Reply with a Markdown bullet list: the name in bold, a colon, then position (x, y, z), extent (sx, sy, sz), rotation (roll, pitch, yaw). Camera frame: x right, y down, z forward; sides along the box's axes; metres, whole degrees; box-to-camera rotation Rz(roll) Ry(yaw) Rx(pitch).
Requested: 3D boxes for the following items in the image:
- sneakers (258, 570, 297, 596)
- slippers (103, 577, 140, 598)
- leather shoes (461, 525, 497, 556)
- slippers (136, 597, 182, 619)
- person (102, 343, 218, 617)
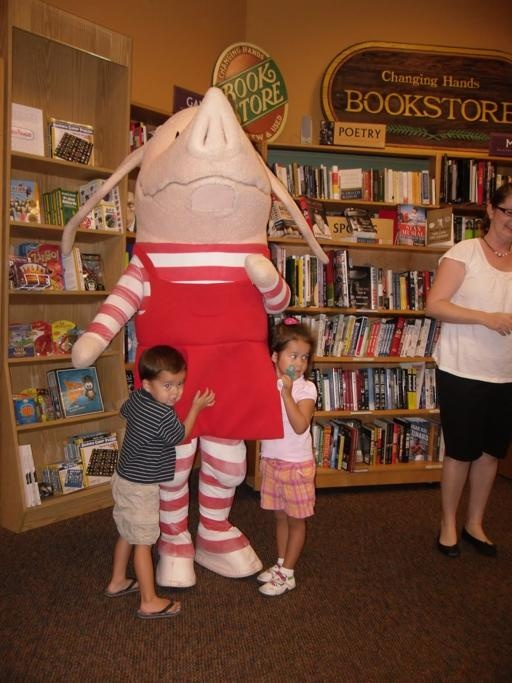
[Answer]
- **sneakers**: position (0.078, 0.733, 1.700), extent (0.140, 0.060, 0.052), rotation (0, 27, -47)
- **slippers**: position (-0.416, 0.755, 1.685), extent (0.103, 0.028, 0.037), rotation (-2, 5, -39)
- **leather shoes**: position (0.847, 0.771, 2.092), extent (0.046, 0.045, 0.125), rotation (2, 2, -25)
- **slippers**: position (-0.263, 0.760, 1.549), extent (0.089, 0.024, 0.048), rotation (0, -4, -9)
- **person**: position (-0.323, 0.399, 1.608), extent (0.309, 0.773, 0.239), rotation (2, 1, 33)
